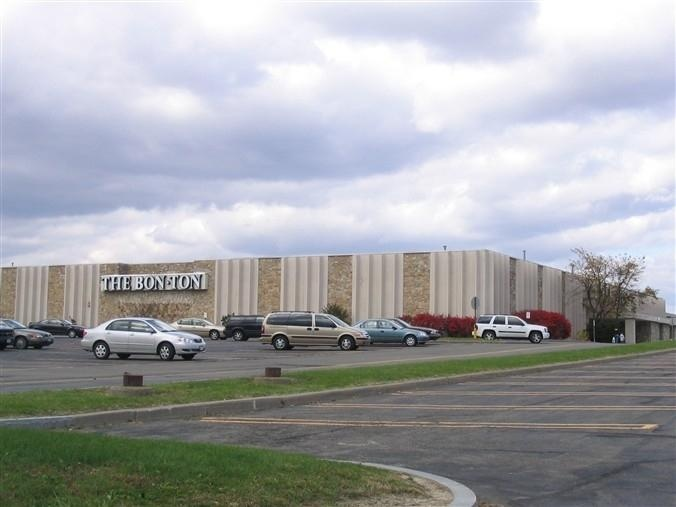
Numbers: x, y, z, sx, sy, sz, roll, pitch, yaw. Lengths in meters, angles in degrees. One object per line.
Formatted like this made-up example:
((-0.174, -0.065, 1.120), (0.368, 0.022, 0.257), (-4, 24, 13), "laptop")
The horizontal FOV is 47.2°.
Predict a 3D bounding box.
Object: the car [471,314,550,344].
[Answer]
((10.904, 4.724, 48.462), (4.357, 1.701, 2.002), (-3, -3, 19), "car")
